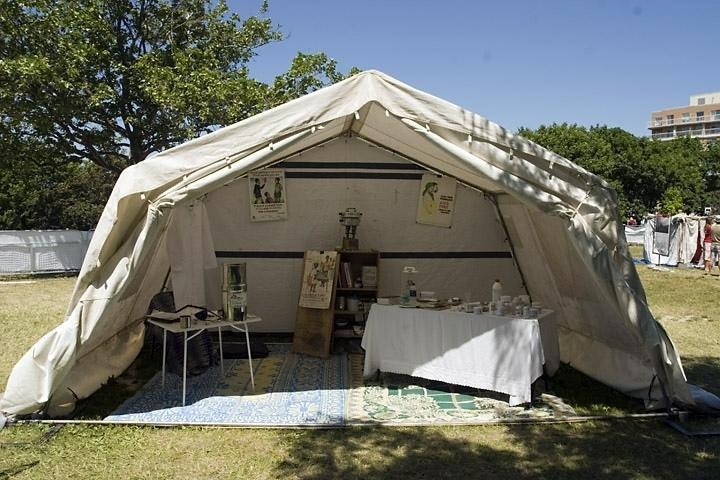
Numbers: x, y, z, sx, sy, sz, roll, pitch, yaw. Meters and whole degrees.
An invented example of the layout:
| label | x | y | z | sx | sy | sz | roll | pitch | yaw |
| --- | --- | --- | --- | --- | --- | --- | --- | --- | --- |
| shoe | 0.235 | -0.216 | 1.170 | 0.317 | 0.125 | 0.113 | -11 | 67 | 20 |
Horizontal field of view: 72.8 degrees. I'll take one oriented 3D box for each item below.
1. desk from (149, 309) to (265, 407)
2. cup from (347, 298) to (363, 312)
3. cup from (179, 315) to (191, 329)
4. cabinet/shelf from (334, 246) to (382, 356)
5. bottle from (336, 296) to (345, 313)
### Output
| label | x | y | z | sx | sy | sz | roll | pitch | yaw |
| --- | --- | --- | --- | --- | --- | --- | --- | --- | --- |
| desk | -2.185 | 1.268 | 6.978 | 1.379 | 1.180 | 1.534 | -2 | 5 | -33 |
| cup | -0.104 | 1.151 | 8.743 | 0.271 | 0.236 | 0.212 | 2 | -1 | 7 |
| cup | -2.258 | 1.033 | 6.263 | 0.139 | 0.152 | 0.137 | 0 | -5 | 0 |
| cabinet/shelf | -0.082 | 1.088 | 8.727 | 0.782 | 1.762 | 0.508 | 0 | -2 | -3 |
| bottle | -0.355 | 1.133 | 8.776 | 0.208 | 0.233 | 0.207 | 0 | 1 | -16 |
